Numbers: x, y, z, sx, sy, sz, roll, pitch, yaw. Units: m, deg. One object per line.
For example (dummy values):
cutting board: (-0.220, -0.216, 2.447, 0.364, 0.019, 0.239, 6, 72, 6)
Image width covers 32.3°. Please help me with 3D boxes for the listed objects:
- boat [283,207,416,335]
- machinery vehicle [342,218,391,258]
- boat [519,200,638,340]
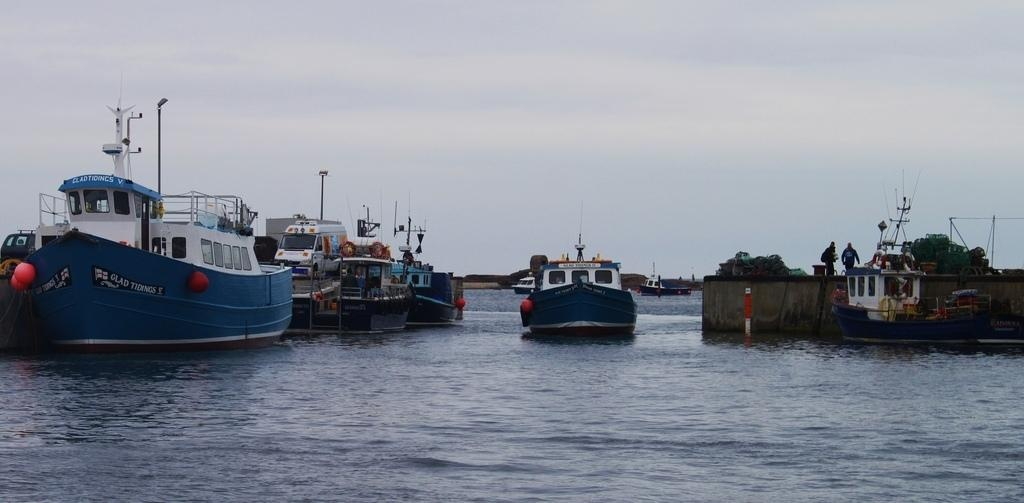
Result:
boat: (-9.545, 1.345, 101.473, 7.023, 6.306, 8.116, 0, 0, -4)
machinery vehicle: (-8.164, -1.071, 92.368, 2.004, 1.231, 2.997, 7, 5, -23)
boat: (3.711, 2.096, 95.706, 5.727, 4.955, 5.178, 0, 0, 1)
